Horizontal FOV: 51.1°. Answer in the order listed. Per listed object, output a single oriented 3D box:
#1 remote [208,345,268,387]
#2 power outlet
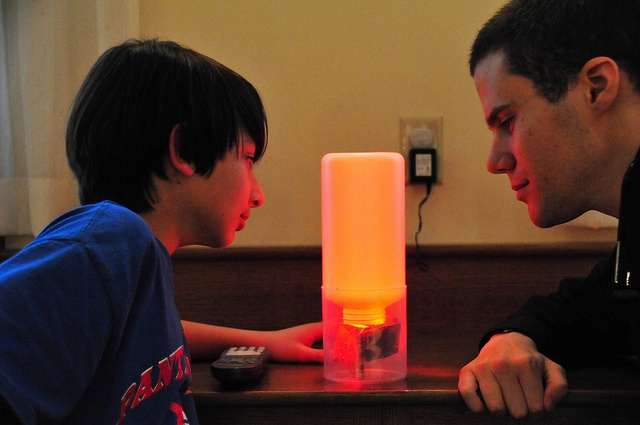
[{"bbox_3d":[-0.169,0.333,1.454,0.106,0.053,0.226,-1,2,5],"label":"remote"},{"bbox_3d":[0.278,-0.173,1.860,0.119,0.185,0.062,0,10,7],"label":"power outlet"}]
